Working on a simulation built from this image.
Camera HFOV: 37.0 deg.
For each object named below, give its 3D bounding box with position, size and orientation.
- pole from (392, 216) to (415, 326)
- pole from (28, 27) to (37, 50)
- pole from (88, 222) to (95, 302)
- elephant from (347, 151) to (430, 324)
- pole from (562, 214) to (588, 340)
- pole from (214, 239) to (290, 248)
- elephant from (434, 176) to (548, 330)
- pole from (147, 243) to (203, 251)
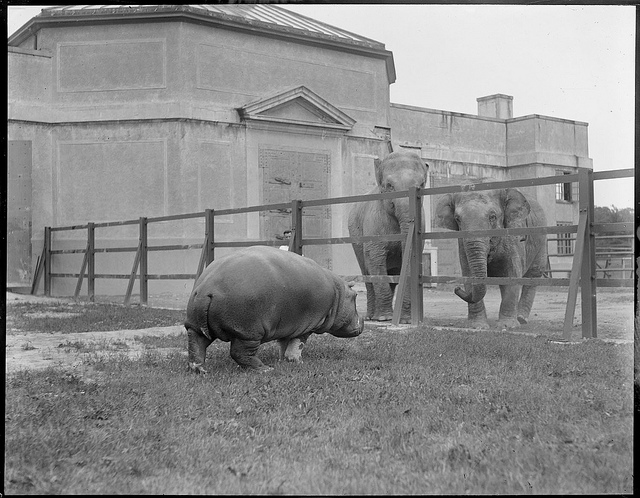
[{"bbox_3d":[0.999,0.268,11.314,0.245,1.319,0.272,5,8,11],"label":"pole"},{"bbox_3d":[-6.056,-4.461,20.209,0.159,0.440,0.247,-9,14,-37],"label":"pole"},{"bbox_3d":[-4.171,0.316,17.478,0.113,1.318,0.126,4,17,2],"label":"pole"},{"bbox_3d":[0.985,-0.097,13.728,0.973,2.396,2.832,2,-3,-8],"label":"elephant"},{"bbox_3d":[2.586,0.263,9.707,0.155,1.411,0.252,1,6,-17],"label":"pole"},{"bbox_3d":[-0.982,-0.080,14.038,0.914,0.144,0.068,-1,-4,30],"label":"pole"},{"bbox_3d":[2.258,0.141,12.663,1.211,1.906,3.184,-5,-7,24],"label":"elephant"},{"bbox_3d":[-2.206,-0.038,15.239,0.705,0.108,0.052,-2,1,34],"label":"pole"}]
